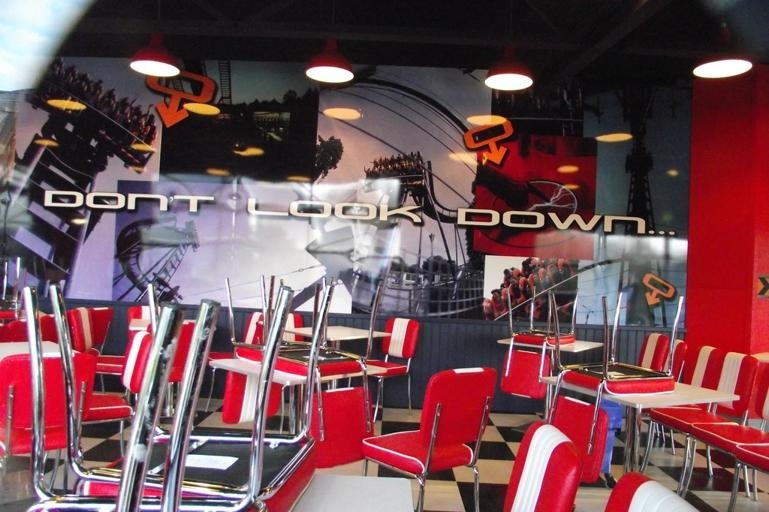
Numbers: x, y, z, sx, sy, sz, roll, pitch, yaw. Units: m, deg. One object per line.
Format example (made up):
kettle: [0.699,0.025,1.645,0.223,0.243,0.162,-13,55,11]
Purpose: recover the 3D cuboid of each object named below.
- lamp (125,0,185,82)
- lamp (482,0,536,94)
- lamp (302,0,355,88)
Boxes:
lamp: [-2.523,-2.431,7.094,0.479,0.683,1.061,6,-4,-17]
lamp: [1.433,-2.302,7.101,0.479,1.074,1.182,4,-4,11]
lamp: [-0.575,-2.373,7.078,0.479,1.046,1.164,5,-4,-5]
